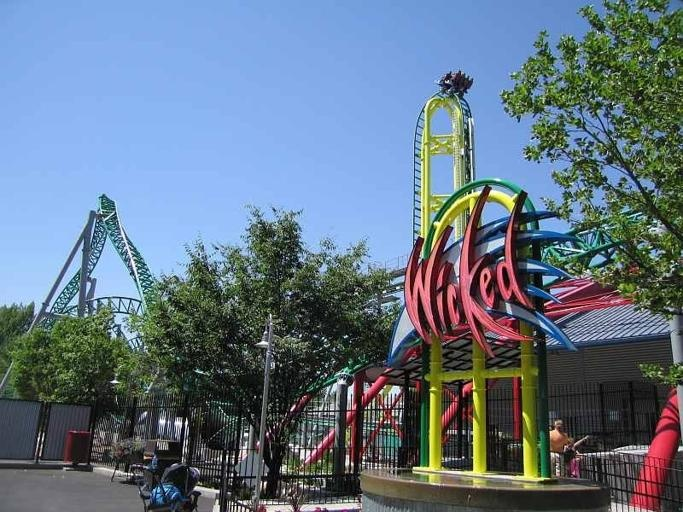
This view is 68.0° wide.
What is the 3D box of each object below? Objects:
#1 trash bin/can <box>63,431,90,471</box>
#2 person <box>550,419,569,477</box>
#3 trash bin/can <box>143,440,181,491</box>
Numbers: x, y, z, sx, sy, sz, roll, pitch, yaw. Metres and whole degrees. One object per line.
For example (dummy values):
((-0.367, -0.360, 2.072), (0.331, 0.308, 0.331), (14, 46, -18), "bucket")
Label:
((-12.103, 8.811, 23.225), (0.994, 1.514, 0.853), (12, -22, -25), "trash bin/can")
((6.452, 5.583, 14.936), (0.535, 1.555, 1.327), (-7, -22, 25), "person")
((-4.132, 4.646, 11.487), (0.623, 0.974, 0.698), (10, -19, -42), "trash bin/can")
